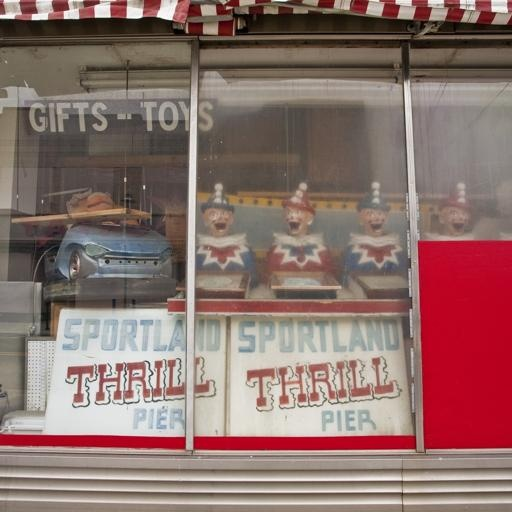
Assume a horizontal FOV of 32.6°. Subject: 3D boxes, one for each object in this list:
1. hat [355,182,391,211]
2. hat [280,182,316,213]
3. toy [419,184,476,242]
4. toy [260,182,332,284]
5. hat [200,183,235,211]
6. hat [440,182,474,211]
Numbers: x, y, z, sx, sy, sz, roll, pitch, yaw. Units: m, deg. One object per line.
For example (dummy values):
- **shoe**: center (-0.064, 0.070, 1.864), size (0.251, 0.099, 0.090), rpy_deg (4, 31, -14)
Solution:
- **hat**: center (0.747, -0.360, 5.539), size (0.168, 0.183, 0.173), rpy_deg (4, -12, 4)
- **hat**: center (0.267, -0.342, 5.649), size (0.186, 0.180, 0.169), rpy_deg (17, -2, 9)
- **toy**: center (1.226, -0.236, 5.500), size (0.323, 0.376, 0.270), rpy_deg (3, -15, -1)
- **toy**: center (0.278, -0.128, 5.567), size (0.392, 0.657, 0.232), rpy_deg (2, 25, 10)
- **hat**: center (-0.244, -0.352, 5.623), size (0.191, 0.165, 0.166), rpy_deg (2, -4, -5)
- **hat**: center (1.268, -0.356, 5.566), size (0.164, 0.161, 0.153), rpy_deg (14, -17, -6)
